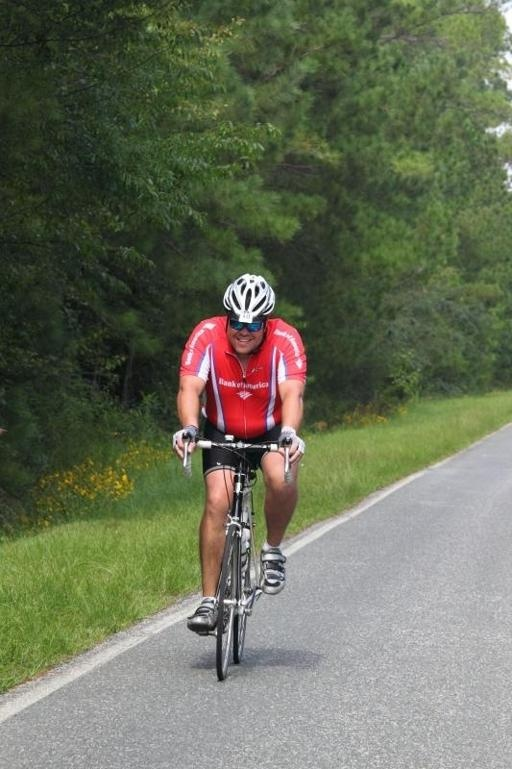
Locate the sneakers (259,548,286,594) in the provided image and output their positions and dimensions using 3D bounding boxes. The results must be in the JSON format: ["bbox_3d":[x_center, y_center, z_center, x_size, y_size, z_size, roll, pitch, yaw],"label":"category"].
[{"bbox_3d":[0.082,0.942,5.810,0.085,0.113,0.266,-1,19,-7],"label":"sneakers"}]

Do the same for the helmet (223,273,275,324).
[{"bbox_3d":[-0.038,-0.415,5.579,0.234,0.238,0.301,2,4,-1],"label":"helmet"}]

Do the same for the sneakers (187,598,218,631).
[{"bbox_3d":[-0.252,1.090,5.357,0.128,0.170,0.170,2,4,-2],"label":"sneakers"}]

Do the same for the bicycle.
[{"bbox_3d":[-0.093,0.816,5.643,0.489,1.213,1.114,2,4,2],"label":"bicycle"}]
